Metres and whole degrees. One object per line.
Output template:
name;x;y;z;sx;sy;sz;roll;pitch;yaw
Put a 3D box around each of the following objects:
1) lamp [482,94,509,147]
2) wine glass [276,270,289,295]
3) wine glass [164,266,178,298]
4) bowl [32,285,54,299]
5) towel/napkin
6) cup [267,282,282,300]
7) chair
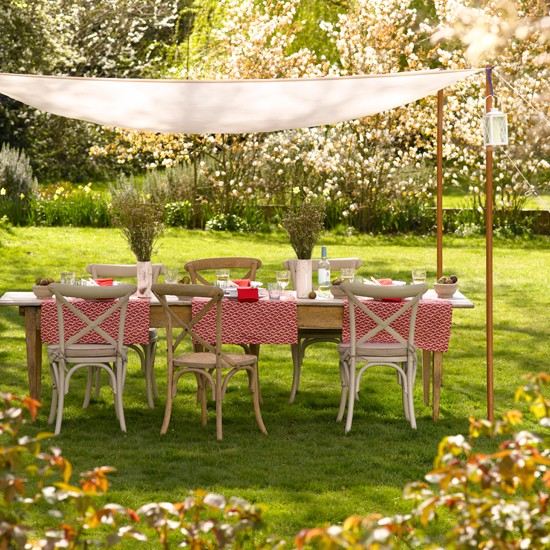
lamp;1.190;-0.812;5.282;0.119;0.222;0.140;-9;8;-5
wine glass;0.058;0.039;5.895;0.100;0.205;0.113;-1;6;-5
wine glass;-0.634;-0.002;5.957;0.081;0.112;0.086;2;3;3
bowl;-1.365;0.098;5.708;0.096;0.085;0.108;0;5;2
towel/napkin;0.798;0.278;5.676;0.354;0.228;0.402;2;-1;-5
cup;0.005;0.092;5.823;0.075;0.110;0.082;-1;4;0
chair;-0.256;0.438;5.799;2.166;0.969;0.829;0;9;-5
